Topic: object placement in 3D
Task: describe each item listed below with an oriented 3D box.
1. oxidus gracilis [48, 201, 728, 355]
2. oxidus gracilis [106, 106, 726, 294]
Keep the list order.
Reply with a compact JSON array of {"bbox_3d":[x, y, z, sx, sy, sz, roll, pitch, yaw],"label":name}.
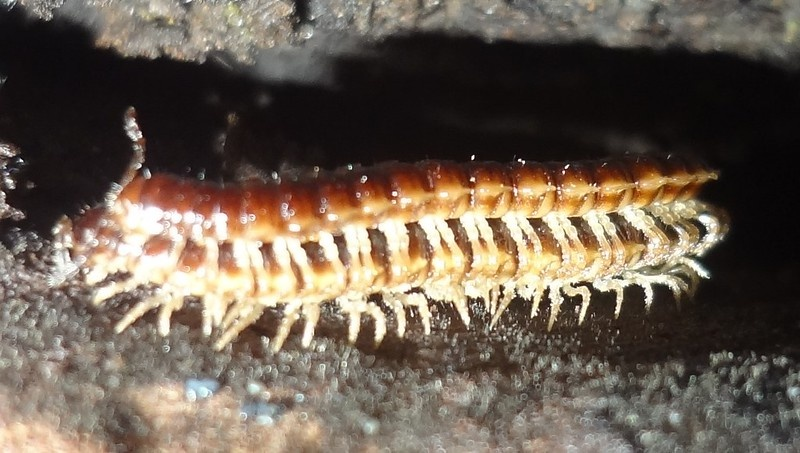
[{"bbox_3d":[-0.033,0.462,5.513,3.835,0.723,1.288,0,27,-11],"label":"oxidus gracilis"},{"bbox_3d":[0.400,-0.158,5.364,4.465,1.231,1.032,1,-40,-14],"label":"oxidus gracilis"}]
